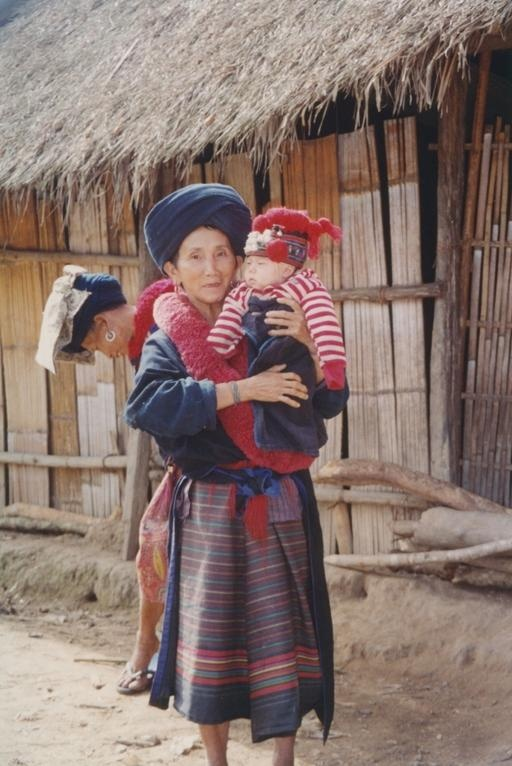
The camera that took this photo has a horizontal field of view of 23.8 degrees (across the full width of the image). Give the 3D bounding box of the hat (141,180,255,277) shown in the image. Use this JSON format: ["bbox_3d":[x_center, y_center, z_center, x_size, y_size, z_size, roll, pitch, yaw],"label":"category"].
[{"bbox_3d":[-0.224,-0.588,4.758,0.327,0.200,0.374,-21,-9,21],"label":"hat"}]

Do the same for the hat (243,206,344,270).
[{"bbox_3d":[0.135,-0.569,4.780,0.426,0.205,0.305,-2,4,33],"label":"hat"}]

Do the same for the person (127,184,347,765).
[{"bbox_3d":[-0.072,0.341,4.721,0.857,2.198,0.590,4,8,4],"label":"person"}]

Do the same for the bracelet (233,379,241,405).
[{"bbox_3d":[-0.075,0.036,4.585,0.025,0.063,0.061,-6,-19,-3],"label":"bracelet"}]
